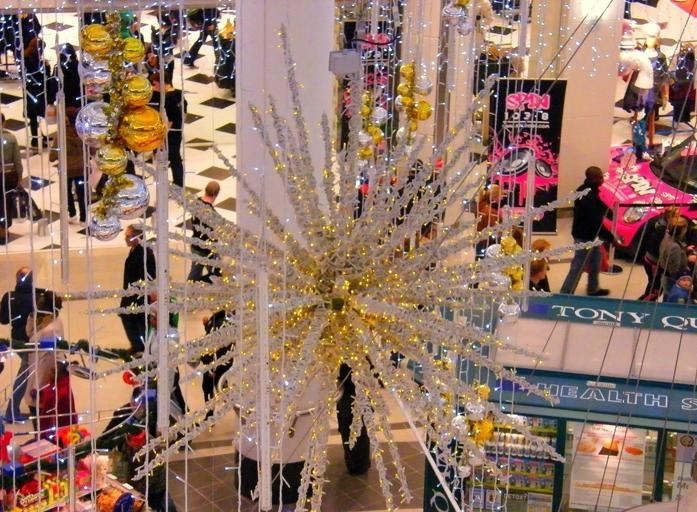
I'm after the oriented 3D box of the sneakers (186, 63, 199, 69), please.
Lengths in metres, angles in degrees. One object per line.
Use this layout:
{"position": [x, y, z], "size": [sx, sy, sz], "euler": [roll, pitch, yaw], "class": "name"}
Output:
{"position": [-2.506, -3.003, 10.745], "size": [0.162, 0.115, 0.058], "euler": [7, 82, -29], "class": "sneakers"}
